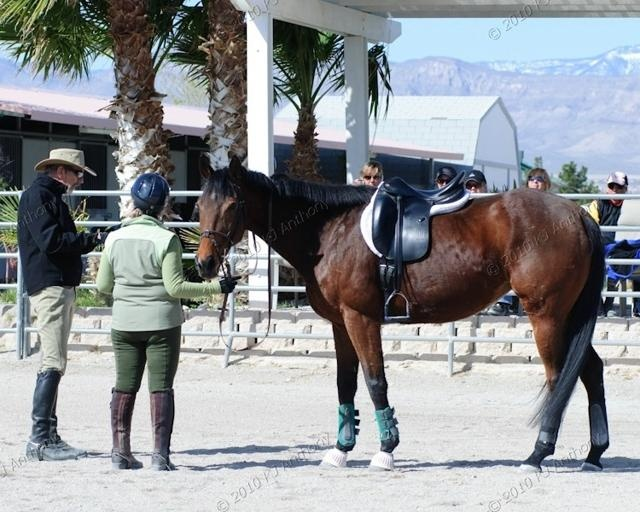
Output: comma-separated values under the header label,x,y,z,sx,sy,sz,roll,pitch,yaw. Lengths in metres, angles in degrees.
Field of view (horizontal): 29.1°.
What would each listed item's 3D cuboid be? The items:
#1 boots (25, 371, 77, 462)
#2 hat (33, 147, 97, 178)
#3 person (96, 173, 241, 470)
label,x,y,z,sx,sy,sz,roll,pitch,yaw
boots,-2.379,1.382,10.846,0.436,0.760,0.313,-3,11,-15
hat,-2.275,-0.874,11.106,0.422,0.183,0.362,9,-4,-15
person,-1.419,0.551,10.585,0.985,2.486,0.631,-1,11,-3
